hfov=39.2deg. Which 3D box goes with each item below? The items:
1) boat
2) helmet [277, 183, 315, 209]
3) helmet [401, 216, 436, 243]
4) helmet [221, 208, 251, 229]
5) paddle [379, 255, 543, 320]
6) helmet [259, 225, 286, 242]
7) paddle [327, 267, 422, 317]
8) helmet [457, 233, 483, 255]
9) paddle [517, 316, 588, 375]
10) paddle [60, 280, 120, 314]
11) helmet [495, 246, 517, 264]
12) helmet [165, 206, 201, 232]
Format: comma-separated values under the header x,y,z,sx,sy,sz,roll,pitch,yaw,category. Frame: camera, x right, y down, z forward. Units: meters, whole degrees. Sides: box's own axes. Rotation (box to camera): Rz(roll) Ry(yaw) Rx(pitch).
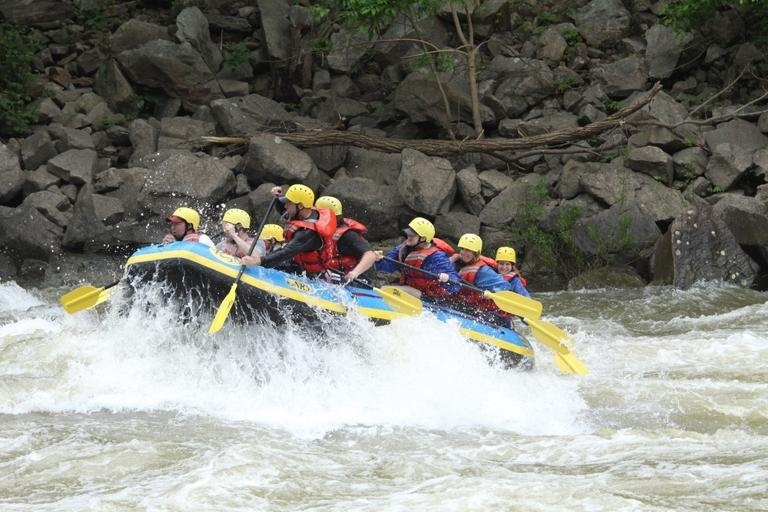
x,y,z,sx,sy,sz,roll,pitch,yaw,category
-0.487,0.602,18.720,7.478,1.175,2.357,22,-10,-26,boat
-1.464,-1.032,18.644,0.475,0.278,0.352,33,9,5,helmet
0.642,-0.476,19.346,0.531,0.261,0.364,20,9,-13,helmet
-2.699,-0.688,20.043,0.492,0.259,0.346,1,17,-38,helmet
1.298,0.583,19.254,3.056,0.390,0.226,21,9,4,paddle
-2.082,-0.420,20.219,0.413,0.168,0.280,8,-3,-27,helmet
-0.172,0.644,18.725,1.618,0.354,0.205,19,-36,1,paddle
1.558,-0.219,19.538,0.353,0.355,0.482,19,22,35,helmet
3.032,1.550,18.938,1.645,0.544,0.189,41,7,38,paddle
-5.114,0.736,18.677,1.281,0.344,0.178,-22,-4,-4,paddle
2.239,0.039,19.851,0.296,0.303,0.386,9,-32,10,helmet
-3.437,-0.661,18.955,0.604,0.281,0.414,20,-5,-25,helmet
